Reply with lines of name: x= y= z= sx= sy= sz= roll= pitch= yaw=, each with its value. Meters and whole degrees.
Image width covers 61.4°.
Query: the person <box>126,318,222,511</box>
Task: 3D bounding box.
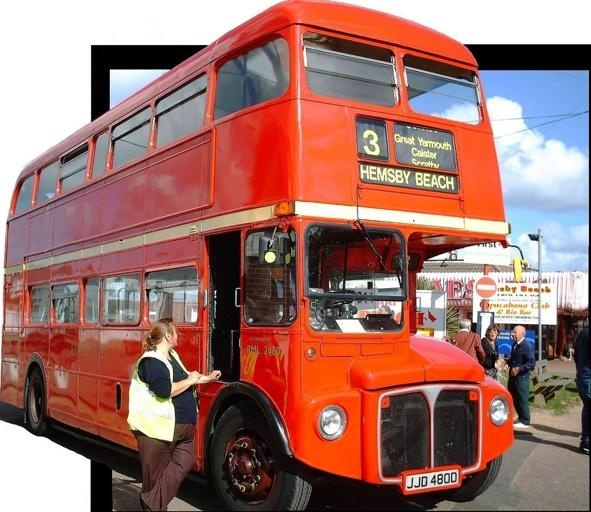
person: x=-1.119 y=1.357 z=4.240 sx=0.580 sy=1.628 sz=0.452 roll=3 pitch=-9 yaw=-18

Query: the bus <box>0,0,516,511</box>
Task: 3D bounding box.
bus: x=-1.260 y=0.222 z=9.625 sx=3.981 sy=6.447 sz=10.961 roll=2 pitch=-5 yaw=-36
